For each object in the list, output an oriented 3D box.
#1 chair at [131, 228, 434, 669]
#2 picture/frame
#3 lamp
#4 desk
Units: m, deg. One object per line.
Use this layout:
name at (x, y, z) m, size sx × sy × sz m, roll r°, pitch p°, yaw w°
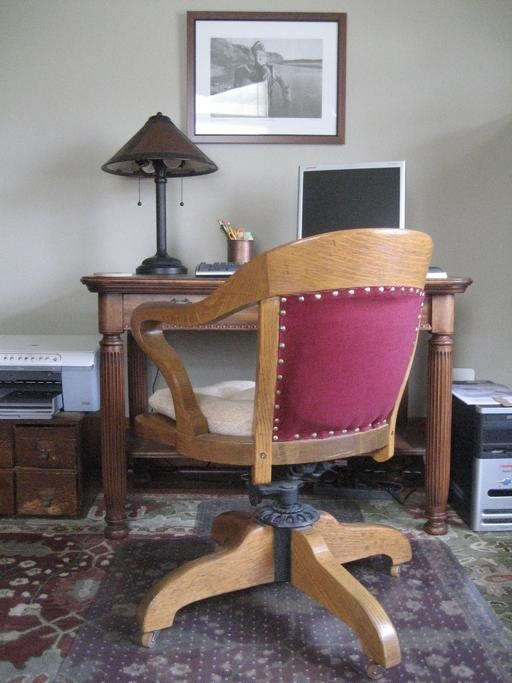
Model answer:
chair at (0.090, 0.214, 1.556) m, size 0.758 × 0.790 × 0.733 m, roll 1°, pitch 0°, yaw -35°
picture/frame at (0.044, -0.988, 2.388) m, size 0.716 × 0.446 × 0.025 m, roll 1°, pitch 18°, yaw 2°
lamp at (-0.323, -0.500, 2.219) m, size 0.471 × 0.499 × 0.423 m, roll -2°, pitch 6°, yaw 2°
desk at (0.090, 0.164, 2.104) m, size 1.200 × 0.702 × 0.556 m, roll 1°, pitch 5°, yaw 7°
